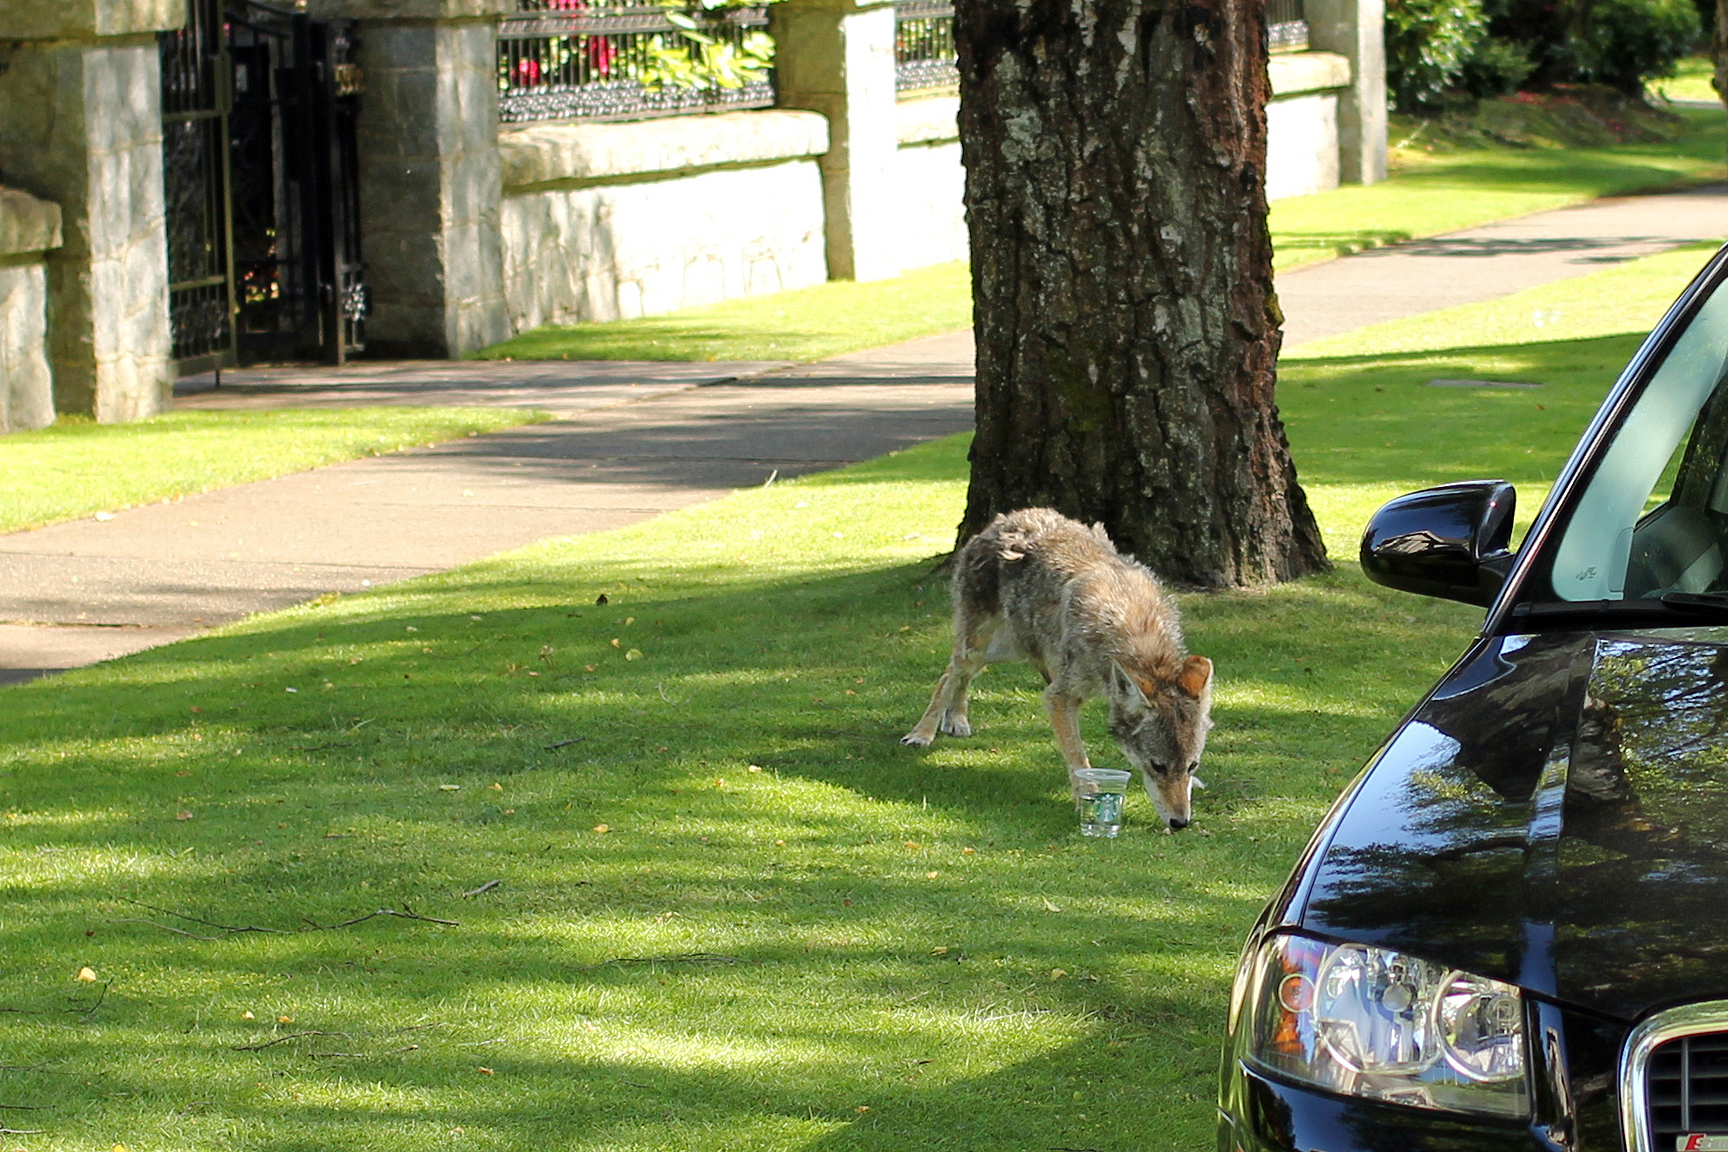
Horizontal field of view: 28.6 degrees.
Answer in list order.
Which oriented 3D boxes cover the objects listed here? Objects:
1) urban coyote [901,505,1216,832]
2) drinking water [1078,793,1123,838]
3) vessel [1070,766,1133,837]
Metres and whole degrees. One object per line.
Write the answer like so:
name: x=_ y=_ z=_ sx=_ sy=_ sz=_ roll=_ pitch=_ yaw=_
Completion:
urban coyote: x=0.986 y=0.452 z=16.515 sx=0.775 sy=1.362 sz=1.664 roll=-11 pitch=14 yaw=-35
drinking water: x=1.105 y=1.128 z=16.211 sx=0.203 sy=0.215 sz=0.200 roll=1 pitch=-4 yaw=2
vessel: x=1.127 y=1.055 z=16.277 sx=0.299 sy=0.286 sz=0.295 roll=5 pitch=7 yaw=15
